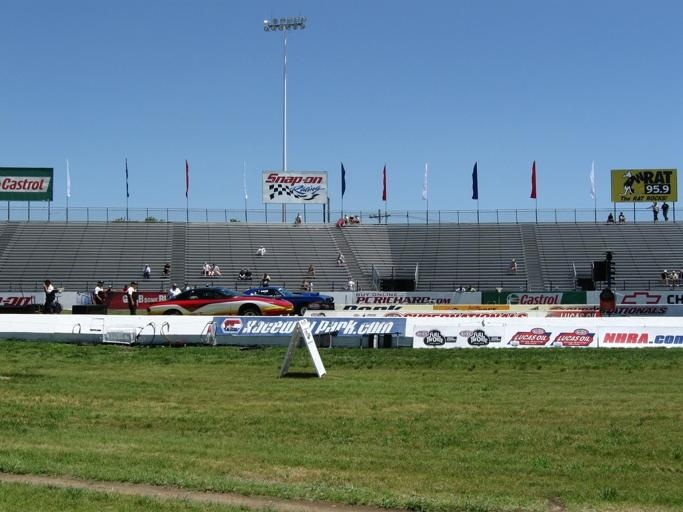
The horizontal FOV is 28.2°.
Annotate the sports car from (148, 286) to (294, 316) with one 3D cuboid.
[{"bbox_3d":[-4.577,1.813,51.154,5.114,0.900,0.936,2,13,11],"label":"sports car"}]
